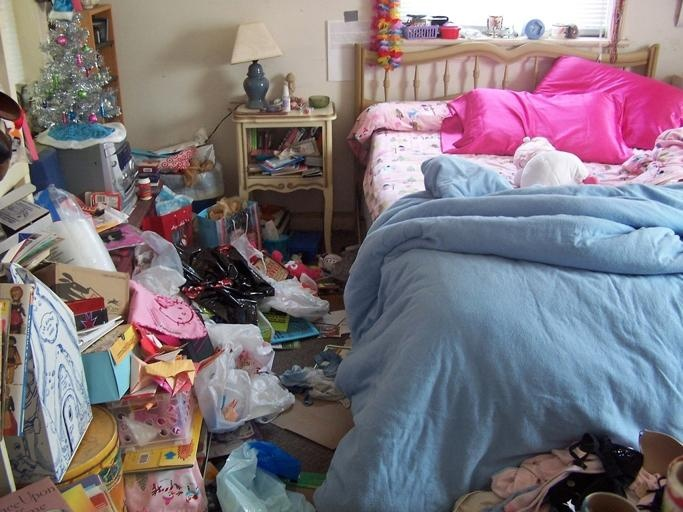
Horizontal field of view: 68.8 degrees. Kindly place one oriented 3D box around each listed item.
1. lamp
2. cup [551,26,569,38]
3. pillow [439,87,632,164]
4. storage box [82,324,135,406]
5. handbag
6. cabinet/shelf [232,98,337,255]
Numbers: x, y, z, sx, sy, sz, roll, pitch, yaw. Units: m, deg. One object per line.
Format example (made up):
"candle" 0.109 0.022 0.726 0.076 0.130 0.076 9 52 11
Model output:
"lamp" -0.548 -1.235 3.248 0.305 0.517 0.322 -3 22 -6
"cup" 1.517 -1.550 3.453 0.088 0.087 0.087 -3 30 1
"pillow" 1.203 -0.797 3.028 0.902 0.224 0.580 4 50 8
"storage box" -0.716 0.334 1.518 0.137 0.149 0.225 -1 23 1
"handbag" -0.610 0.136 2.515 0.470 0.281 0.463 5 23 14
"cabinet/shelf" -0.361 -0.709 3.825 0.872 1.292 0.916 -1 26 -3
